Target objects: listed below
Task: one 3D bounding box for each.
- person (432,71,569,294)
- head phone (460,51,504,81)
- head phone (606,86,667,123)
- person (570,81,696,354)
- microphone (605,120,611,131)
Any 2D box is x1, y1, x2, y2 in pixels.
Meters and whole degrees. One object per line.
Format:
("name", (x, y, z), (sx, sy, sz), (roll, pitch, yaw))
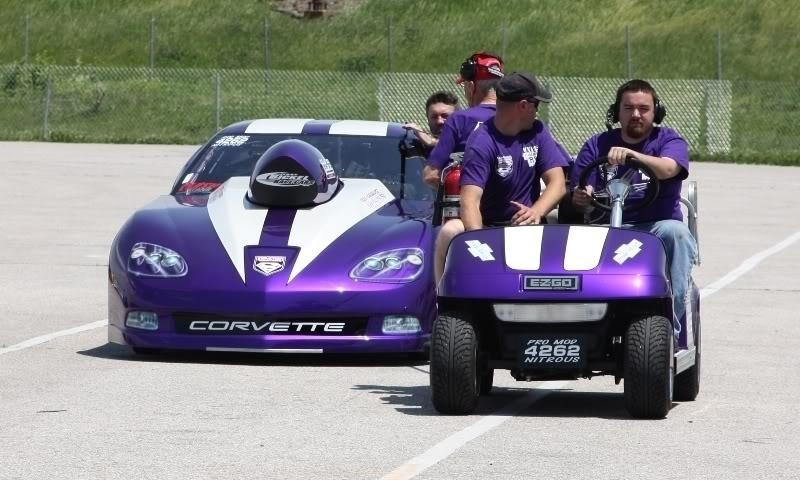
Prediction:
("person", (0.967, -0.721, 8.287), (1.090, 1.291, 0.695), (-3, 12, -18))
("head phone", (0.663, -1.592, 9.282), (0.420, 0.191, 0.315), (-6, 9, 16))
("head phone", (2.030, -1.174, 8.635), (0.476, 0.385, 0.172), (1, -9, 3))
("person", (1.947, -0.281, 8.409), (0.950, 1.976, 1.167), (-3, -2, -1))
("microphone", (1.805, -0.989, 8.732), (0.054, 0.072, 0.027), (-15, -37, 28))
